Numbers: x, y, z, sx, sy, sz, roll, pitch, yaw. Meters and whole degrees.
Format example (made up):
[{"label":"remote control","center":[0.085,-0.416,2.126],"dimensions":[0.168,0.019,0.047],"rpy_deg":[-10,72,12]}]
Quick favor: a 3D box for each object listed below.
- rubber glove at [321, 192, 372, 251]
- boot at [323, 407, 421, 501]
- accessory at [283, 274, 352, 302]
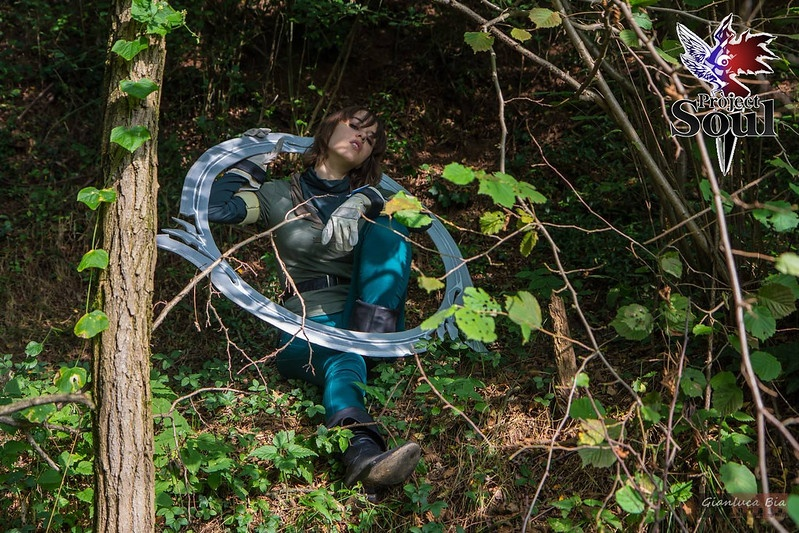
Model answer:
[{"label":"rubber glove","center":[-0.342,-0.276,4.984],"dimensions":[0.233,0.407,0.162],"rpy_deg":[17,-25,-6]},{"label":"boot","center":[-0.165,1.039,4.429],"dimensions":[0.314,0.379,0.507],"rpy_deg":[-8,22,-33]},{"label":"accessory","center":[-0.549,0.118,5.210],"dimensions":[0.298,0.088,0.216],"rpy_deg":[-18,1,-8]}]
